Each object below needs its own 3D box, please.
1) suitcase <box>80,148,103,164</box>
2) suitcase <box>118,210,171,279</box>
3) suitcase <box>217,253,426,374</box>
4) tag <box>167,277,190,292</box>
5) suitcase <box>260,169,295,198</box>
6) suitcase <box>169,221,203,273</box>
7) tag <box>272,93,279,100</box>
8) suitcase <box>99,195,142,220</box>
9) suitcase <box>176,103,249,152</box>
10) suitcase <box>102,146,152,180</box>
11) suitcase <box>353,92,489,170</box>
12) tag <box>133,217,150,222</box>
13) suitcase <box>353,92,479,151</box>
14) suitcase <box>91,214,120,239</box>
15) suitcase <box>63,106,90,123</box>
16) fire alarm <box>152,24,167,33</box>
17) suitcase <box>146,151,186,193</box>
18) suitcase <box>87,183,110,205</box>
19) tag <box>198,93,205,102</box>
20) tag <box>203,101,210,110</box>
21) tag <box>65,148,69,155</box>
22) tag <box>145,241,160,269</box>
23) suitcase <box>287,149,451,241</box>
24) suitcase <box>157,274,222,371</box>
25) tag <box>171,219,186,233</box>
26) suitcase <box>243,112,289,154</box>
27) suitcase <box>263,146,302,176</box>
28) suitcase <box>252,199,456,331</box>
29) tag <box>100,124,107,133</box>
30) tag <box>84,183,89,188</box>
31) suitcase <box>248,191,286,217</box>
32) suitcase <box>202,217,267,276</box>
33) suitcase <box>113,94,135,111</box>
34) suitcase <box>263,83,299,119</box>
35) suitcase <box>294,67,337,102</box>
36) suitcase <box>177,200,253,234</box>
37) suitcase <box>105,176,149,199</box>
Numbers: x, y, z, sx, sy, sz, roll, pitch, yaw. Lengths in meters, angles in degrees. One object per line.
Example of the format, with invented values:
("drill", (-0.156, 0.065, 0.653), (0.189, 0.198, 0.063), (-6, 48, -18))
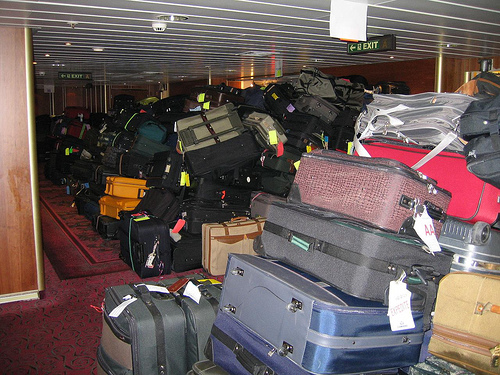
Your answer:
("suitcase", (-3.903, -0.763, 7.709), (0.535, 0.270, 0.271), (17, 8, 35))
("suitcase", (-1.490, 0.835, 4.506), (0.617, 0.833, 1.108), (-4, 7, -36))
("suitcase", (0.436, 0.679, 1.644), (0.926, 0.234, 0.841), (11, -2, -24))
("tag", (-0.605, 0.841, 2.661), (0.119, 0.027, 0.167), (2, 12, 19))
("suitcase", (0.426, -0.070, 4.800), (0.565, 0.285, 0.181), (6, -6, 27))
("suitcase", (-0.948, 0.926, 4.880), (0.647, 0.434, 0.764), (-4, 9, -26))
("tag", (0.416, -1.485, 5.068), (0.103, 0.093, 0.013), (0, 15, 3))
("suitcase", (-2.501, 0.331, 5.866), (0.665, 0.200, 0.580), (4, 5, 17))
("suitcase", (-0.492, -0.867, 4.555), (1.004, 0.618, 0.287), (-18, -19, -8))
("suitcase", (-2.466, -0.393, 6.217), (1.138, 0.601, 0.997), (-5, -6, -15))
("suitcase", (1.264, -0.325, 2.420), (0.849, 0.269, 0.736), (4, 44, 36))
("tag", (-1.575, 0.466, 4.526), (0.268, 0.011, 0.058), (-3, 11, -20))
("suitcase", (1.137, -0.426, 2.256), (0.796, 0.219, 0.530), (5, 21, 28))
("suitcase", (-2.742, 0.714, 5.898), (0.552, 0.284, 0.672), (-5, 13, -34))
("suitcase", (-5.958, -2.560, 10.761), (1.024, 0.420, 1.009), (-3, 12, -32))
("fire alarm", (-1.213, -2.156, 4.198), (0.175, 0.091, 0.151), (-2, 8, -13))
("suitcase", (-1.313, -0.229, 4.961), (0.428, 0.636, 0.790), (22, -10, -40))
("suitcase", (-3.296, 0.148, 6.718), (0.469, 0.449, 0.156), (7, 3, 34))
("tag", (-0.861, -1.594, 5.536), (0.164, 0.121, 0.039), (5, -3, 39))
("tag", (-0.757, -1.438, 5.446), (0.145, 0.165, 0.111), (4, 11, -1))
("tag", (-5.725, -1.124, 9.788), (0.128, 0.161, 0.044), (3, 0, -5))
("tag", (-1.362, 0.970, 4.343), (0.088, 0.292, 0.211), (18, -10, -25))
("suitcase", (0.722, 0.061, 1.928), (0.583, 0.246, 0.757), (18, 1, -41))
("suitcase", (-0.448, 1.030, 2.303), (0.469, 0.508, 0.772), (-4, 11, -24))
("tag", (-1.075, 0.588, 4.704), (0.033, 0.285, 0.167), (36, 5, -46))
("suitcase", (0.219, -0.798, 4.686), (0.770, 0.383, 0.494), (30, -16, 21))
("suitcase", (0.491, -0.430, 4.964), (0.564, 0.297, 0.509), (14, 5, -14))
("suitcase", (0.478, 0.321, 1.802), (0.715, 0.224, 0.916), (-1, 16, -46))
("tag", (-3.637, -1.459, 7.770), (0.058, 0.191, 0.219), (40, -30, -28))
("tag", (-3.823, -0.045, 7.309), (0.151, 0.107, 0.067), (-2, 15, 2))
("suitcase", (0.205, 0.216, 4.074), (0.284, 0.362, 0.447), (-1, 13, -33))
("suitcase", (-0.223, 0.843, 4.650), (1.166, 0.670, 0.454), (-1, 6, -45))
("suitcase", (-3.588, -2.438, 8.858), (0.579, 0.507, 1.466), (-6, 13, -21))
("suitcase", (0.496, -1.401, 5.118), (0.754, 0.401, 0.252), (30, 3, 3))
("suitcase", (1.111, -1.680, 5.204), (0.525, 0.198, 0.663), (1, -17, 37))
("suitcase", (-0.549, 0.406, 4.890), (0.872, 0.247, 0.661), (-3, 7, -29))
("suitcase", (-2.322, -0.003, 5.843), (0.613, 0.265, 0.659), (2, 3, -8))
